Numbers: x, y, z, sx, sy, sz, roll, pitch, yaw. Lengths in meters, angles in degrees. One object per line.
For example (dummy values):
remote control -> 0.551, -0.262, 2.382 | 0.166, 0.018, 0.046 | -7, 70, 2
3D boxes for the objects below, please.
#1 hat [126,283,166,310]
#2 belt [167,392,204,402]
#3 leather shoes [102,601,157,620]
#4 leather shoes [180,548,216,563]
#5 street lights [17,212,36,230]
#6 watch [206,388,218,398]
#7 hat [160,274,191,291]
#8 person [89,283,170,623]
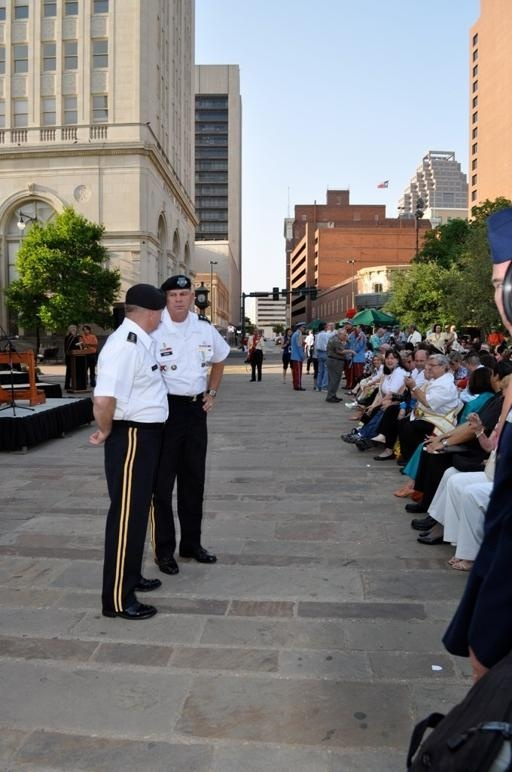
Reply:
hat -> -0.604, -0.504, 4.596 | 0.132, 0.094, 0.185 | 9, 14, 23
belt -> -0.435, 0.081, 5.299 | 0.260, 0.078, 0.081 | -4, 6, -41
leather shoes -> -0.693, 1.207, 4.469 | 0.254, 0.108, 0.111 | -3, 4, -3
leather shoes -> -0.402, 1.128, 5.525 | 0.254, 0.104, 0.092 | 1, 3, 28
street lights -> -11.674, -8.317, 41.707 | 0.493, 0.891, 1.212 | -5, 6, -43
watch -> -0.292, 0.043, 5.516 | 0.059, 0.042, 0.066 | 2, 2, 20
hat -> -0.506, -0.657, 5.265 | 0.189, 0.108, 0.307 | -1, 4, -4
person -> -0.685, 0.340, 4.551 | 0.346, 1.810, 0.538 | 2, 5, 30
